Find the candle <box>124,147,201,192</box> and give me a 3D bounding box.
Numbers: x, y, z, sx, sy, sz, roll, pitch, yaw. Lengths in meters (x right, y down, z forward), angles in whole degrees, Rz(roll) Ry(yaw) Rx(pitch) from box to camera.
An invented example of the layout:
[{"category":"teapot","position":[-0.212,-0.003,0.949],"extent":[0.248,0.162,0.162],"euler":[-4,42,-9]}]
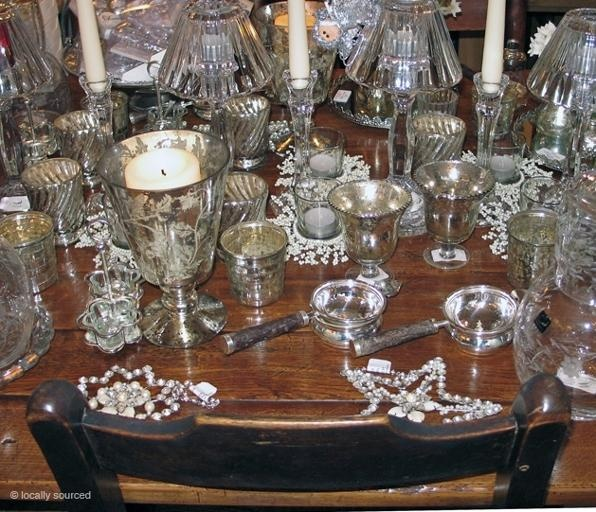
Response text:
[{"category":"candle","position":[-0.146,-0.090,0.604],"extent":[0.068,0.025,0.058],"euler":[0,46,2]}]
